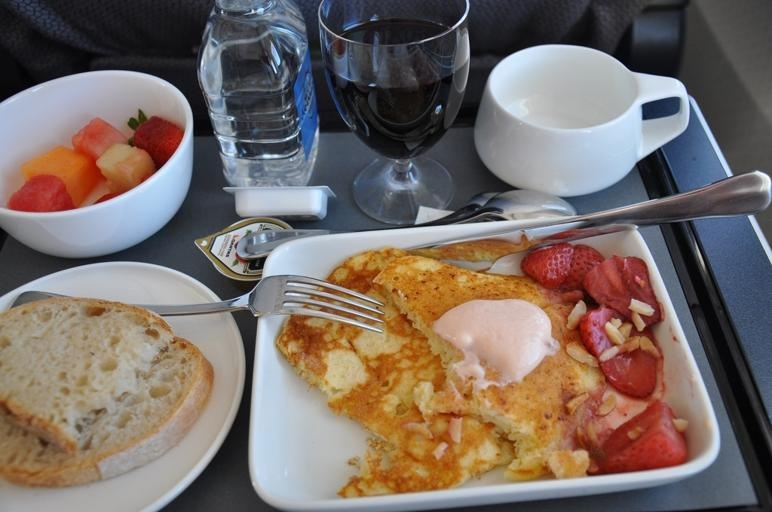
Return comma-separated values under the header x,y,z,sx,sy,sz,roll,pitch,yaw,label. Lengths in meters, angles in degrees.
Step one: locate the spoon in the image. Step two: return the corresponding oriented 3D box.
x,y,z,sx,sy,sz,roll,pitch,yaw,label
0.060,-0.094,1.969,0.566,0.086,0.151,-6,41,13,spoon
